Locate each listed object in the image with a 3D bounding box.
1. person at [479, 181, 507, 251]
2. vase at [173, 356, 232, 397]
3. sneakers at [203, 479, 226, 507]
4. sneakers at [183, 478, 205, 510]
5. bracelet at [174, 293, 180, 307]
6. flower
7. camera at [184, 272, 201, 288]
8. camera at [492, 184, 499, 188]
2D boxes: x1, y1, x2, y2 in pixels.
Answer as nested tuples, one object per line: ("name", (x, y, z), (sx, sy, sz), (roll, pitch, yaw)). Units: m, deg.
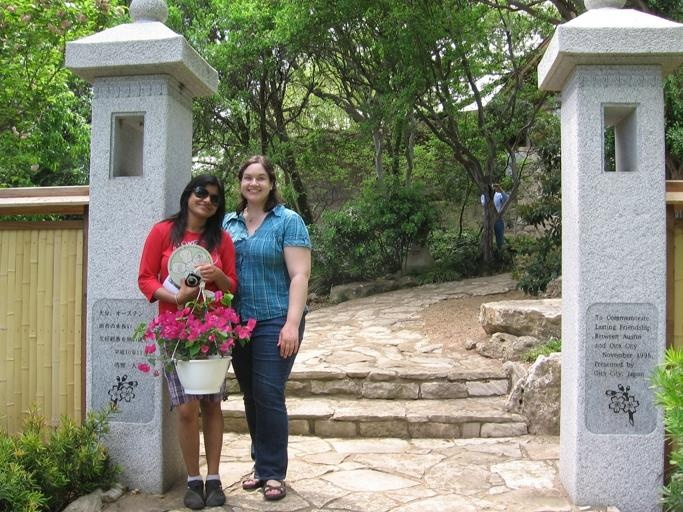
("person", (3.697, -0.979, 15.730), (0.593, 1.564, 1.186), (3, 10, 14))
("vase", (-1.055, 0.885, 4.869), (0.449, 0.293, 0.469), (-2, 2, -27))
("sneakers", (-0.975, 1.813, 4.926), (0.159, 0.180, 0.129), (-2, 10, -13))
("sneakers", (-1.123, 1.808, 4.893), (0.154, 0.219, 0.150), (-2, 10, -14))
("bracelet", (-1.229, 0.338, 4.801), (0.025, 0.075, 0.062), (2, -2, -9))
("flower", (-1.098, 0.613, 4.893), (0.865, 0.720, 0.498), (0, 10, -5))
("camera", (-1.095, 0.179, 4.723), (0.102, 0.109, 0.100), (7, 17, -13))
("camera", (3.675, -1.723, 15.552), (0.142, 0.072, 0.208), (0, 3, 4))
